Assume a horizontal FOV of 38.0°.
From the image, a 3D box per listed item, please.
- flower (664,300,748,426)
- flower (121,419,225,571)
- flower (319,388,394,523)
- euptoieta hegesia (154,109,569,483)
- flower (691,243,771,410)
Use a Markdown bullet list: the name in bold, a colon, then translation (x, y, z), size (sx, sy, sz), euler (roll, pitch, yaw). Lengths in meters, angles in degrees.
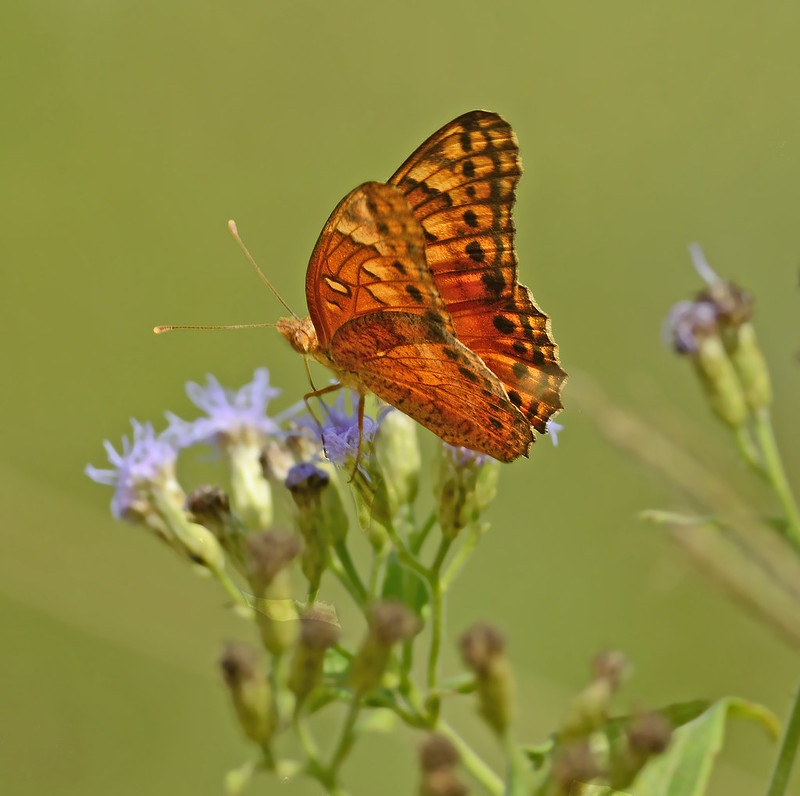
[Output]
- **flower**: translation (0.405, -0.057, 1.538), size (0.073, 0.186, 0.059), euler (-23, -7, -2)
- **flower**: translation (-0.373, 0.172, 1.742), size (0.193, 0.098, 0.182), euler (19, -3, -1)
- **flower**: translation (-0.066, 0.086, 1.653), size (0.066, 0.139, 0.133), euler (-11, -4, -16)
- **euptoieta hegesia**: translation (0.002, -0.125, 1.633), size (0.384, 0.413, 0.434), euler (27, -29, -30)
- **flower**: translation (0.453, -0.088, 1.557), size (0.051, 0.242, 0.070), euler (-17, -9, -26)
